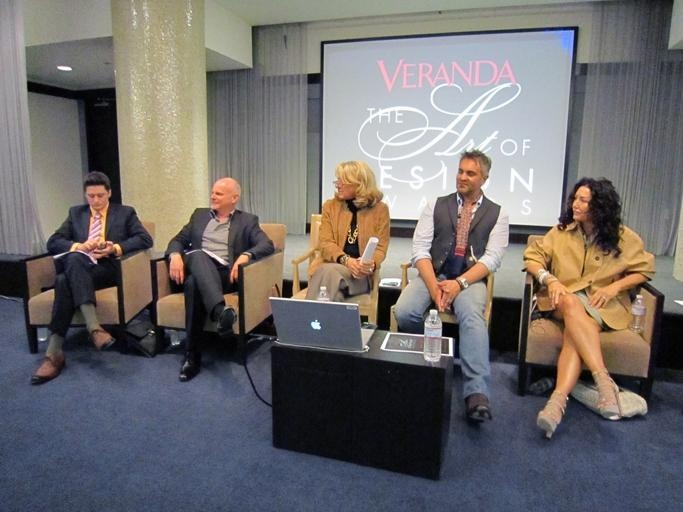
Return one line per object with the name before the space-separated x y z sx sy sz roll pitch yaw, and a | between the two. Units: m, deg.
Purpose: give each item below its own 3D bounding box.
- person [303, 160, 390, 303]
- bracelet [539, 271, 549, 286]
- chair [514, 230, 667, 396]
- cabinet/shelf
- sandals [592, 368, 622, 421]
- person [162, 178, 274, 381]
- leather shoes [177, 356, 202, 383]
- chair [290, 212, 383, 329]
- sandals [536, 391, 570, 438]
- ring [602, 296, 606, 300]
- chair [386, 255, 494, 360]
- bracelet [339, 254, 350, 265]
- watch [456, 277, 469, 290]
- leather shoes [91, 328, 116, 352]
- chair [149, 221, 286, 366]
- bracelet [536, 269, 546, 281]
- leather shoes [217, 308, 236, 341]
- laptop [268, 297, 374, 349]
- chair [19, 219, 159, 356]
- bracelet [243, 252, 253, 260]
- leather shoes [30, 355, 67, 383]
person | 0.042 -0.182 3.677 0.602 0.993 0.595 1 10 2
bracelet | 1.347 0.157 3.350 0.029 0.085 0.070 10 9 31
chair | 1.765 0.355 3.576 1.085 1.083 1.153 5 0 -18
cabinet/shelf | 0.109 0.738 2.871 0.950 0.669 0.599 7 19 17
sandals | 1.516 0.803 2.910 0.112 0.150 0.347 -23 10 27
person | -0.943 0.142 3.748 0.752 1.444 1.043 6 3 -26
leather shoes | -1.063 0.772 3.467 0.109 0.139 0.190 0 10 1
chair | 0.007 0.093 4.044 0.724 1.252 0.800 2 5 9
sandals | 1.224 0.917 2.898 0.125 0.161 0.348 -2 5 19
ring | 1.682 0.275 3.194 0.013 0.018 0.010 8 -3 35
chair | 0.768 0.357 3.759 0.532 1.077 0.684 1 3 18
bracelet | 0.015 0.038 3.682 0.060 0.049 0.062 0 1 -24
watch | 0.821 0.191 3.392 0.057 0.101 0.086 -6 2 -24
leather shoes | -1.713 0.610 3.540 0.118 0.177 0.210 -7 13 -36
chair | -0.957 0.250 3.892 0.867 0.913 0.782 2 10 10
bracelet | 1.341 0.130 3.351 0.055 0.025 0.060 -26 -2 5
leather shoes | -0.799 0.463 3.439 0.107 0.220 0.084 5 6 -38
laptop | -0.125 0.363 2.599 0.373 0.275 0.305 2 15 16
chair | -2.266 0.205 3.987 0.606 0.706 0.505 -24 13 -27
bracelet | -0.710 0.008 3.698 0.043 0.037 0.063 3 0 6
leather shoes | -2.017 0.771 3.420 0.091 0.102 0.263 0 4 -2
